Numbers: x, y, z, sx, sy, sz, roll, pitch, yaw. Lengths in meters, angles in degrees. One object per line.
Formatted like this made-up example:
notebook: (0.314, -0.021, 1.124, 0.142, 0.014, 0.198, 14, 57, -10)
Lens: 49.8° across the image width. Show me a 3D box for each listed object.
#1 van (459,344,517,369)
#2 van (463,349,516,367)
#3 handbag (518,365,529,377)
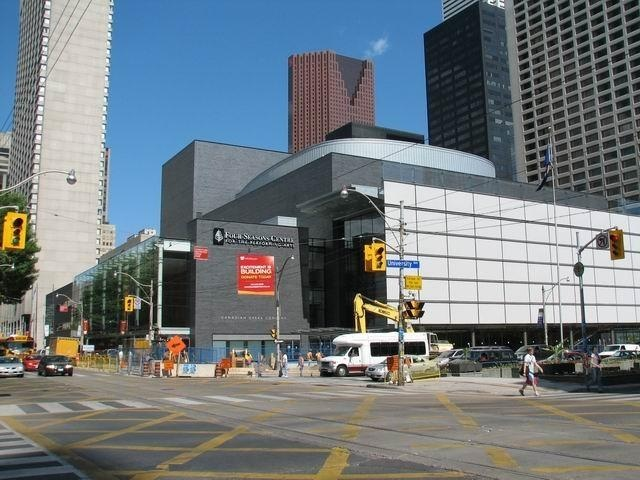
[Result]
van: (12.440, 8.368, 49.871, 3.272, 1.533, 1.675, 0, -6, -12)
van: (12.511, 8.375, 49.645, 2.843, 1.338, 1.549, 0, -7, -9)
handbag: (9.692, 6.138, 32.427, 0.357, 0.610, 0.586, 1, -11, -13)
